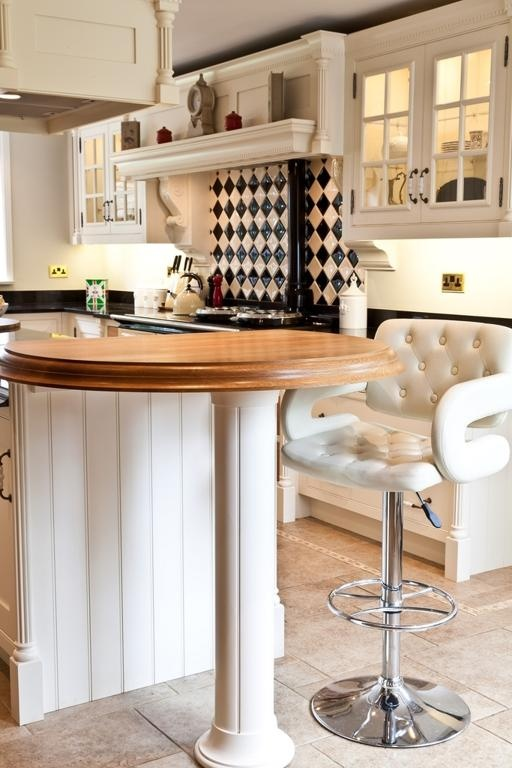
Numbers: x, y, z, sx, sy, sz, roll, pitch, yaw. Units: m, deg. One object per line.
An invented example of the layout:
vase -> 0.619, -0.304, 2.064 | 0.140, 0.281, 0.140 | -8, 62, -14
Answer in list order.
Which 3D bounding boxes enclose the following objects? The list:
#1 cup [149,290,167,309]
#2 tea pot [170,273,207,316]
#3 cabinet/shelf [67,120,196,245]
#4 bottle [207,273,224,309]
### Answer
cup -> -0.758, -0.658, 5.207 | 0.134, 0.150, 0.134 | 1, 3, 0
tea pot -> -0.462, -0.628, 4.769 | 0.341, 0.343, 0.269 | 2, 4, 17
cabinet/shelf -> -1.018, -1.580, 5.338 | 0.453, 0.969, 1.113 | -9, 16, -44
bottle -> -0.293, -0.668, 4.757 | 0.109, 0.289, 0.300 | -1, -1, -5
